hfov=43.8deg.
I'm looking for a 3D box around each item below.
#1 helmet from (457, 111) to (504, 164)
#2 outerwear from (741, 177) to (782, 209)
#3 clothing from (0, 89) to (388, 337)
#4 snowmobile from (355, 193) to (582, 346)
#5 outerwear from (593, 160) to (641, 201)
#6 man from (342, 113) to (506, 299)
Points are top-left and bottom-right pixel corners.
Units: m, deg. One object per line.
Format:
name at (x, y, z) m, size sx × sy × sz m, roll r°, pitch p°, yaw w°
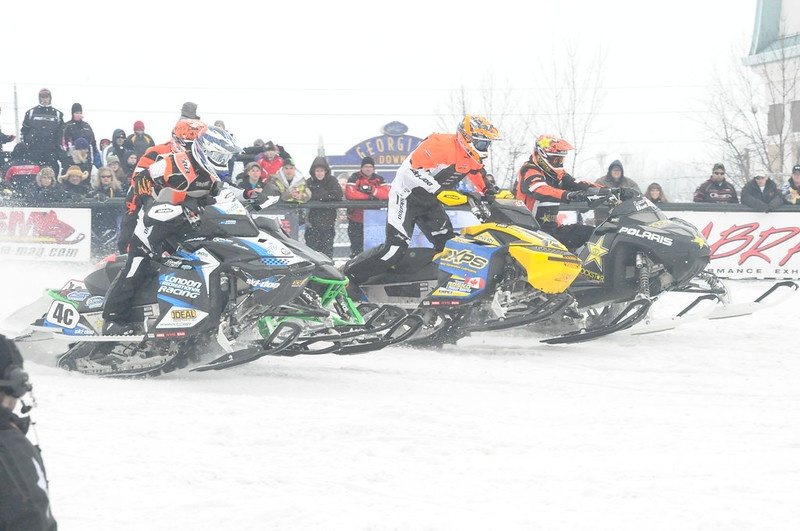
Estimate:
helmet at (0.994, -1.601, 12.648) m, size 0.575 × 0.592 × 0.389 m, roll 4°, pitch 3°, yaw 23°
outerwear at (5.849, -1.126, 16.048) m, size 0.553 × 0.264 × 0.642 m, roll 2°, pitch 44°, yaw 7°
clothing at (-2.483, -0.686, 12.519) m, size 2.609 × 3.337 × 2.864 m, roll 11°, pitch 5°, yaw 24°
snowmobile at (0.603, 0.166, 12.925) m, size 3.678 × 1.778 × 1.537 m, roll -8°, pitch -18°, yaw 34°
outerwear at (3.662, -1.456, 16.809) m, size 1.050 × 0.543 × 0.422 m, roll 1°, pitch -3°, yaw 0°
man at (0.304, -0.655, 12.879) m, size 2.009 × 2.328 × 1.139 m, roll 9°, pitch 0°, yaw -14°
